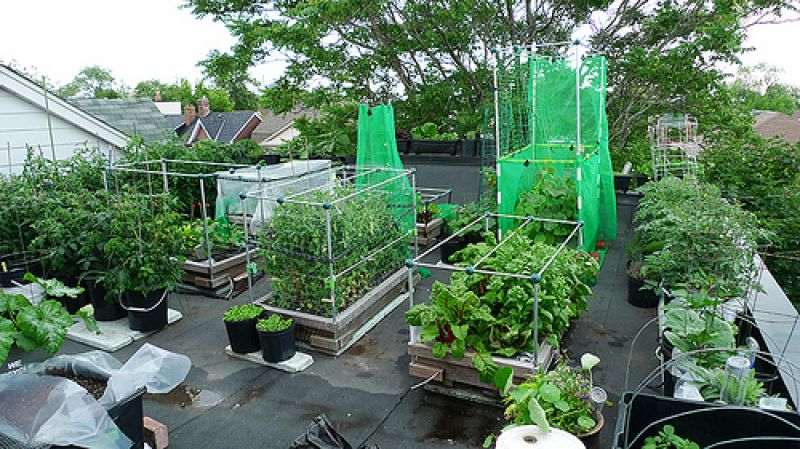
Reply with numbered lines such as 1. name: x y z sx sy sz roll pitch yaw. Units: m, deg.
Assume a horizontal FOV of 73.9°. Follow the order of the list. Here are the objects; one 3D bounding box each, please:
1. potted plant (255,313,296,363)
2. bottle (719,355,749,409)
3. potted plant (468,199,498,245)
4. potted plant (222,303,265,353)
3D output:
1. potted plant: -1.992 1.861 8.966 0.814 0.749 0.754 -3 5 -20
2. bottle: 4.328 1.993 6.758 0.335 0.594 0.229 5 5 18
3. potted plant: 1.698 -0.080 10.615 0.574 0.937 1.328 4 4 10
4. potted plant: -2.568 1.759 9.125 0.840 0.717 0.773 -1 4 -3
